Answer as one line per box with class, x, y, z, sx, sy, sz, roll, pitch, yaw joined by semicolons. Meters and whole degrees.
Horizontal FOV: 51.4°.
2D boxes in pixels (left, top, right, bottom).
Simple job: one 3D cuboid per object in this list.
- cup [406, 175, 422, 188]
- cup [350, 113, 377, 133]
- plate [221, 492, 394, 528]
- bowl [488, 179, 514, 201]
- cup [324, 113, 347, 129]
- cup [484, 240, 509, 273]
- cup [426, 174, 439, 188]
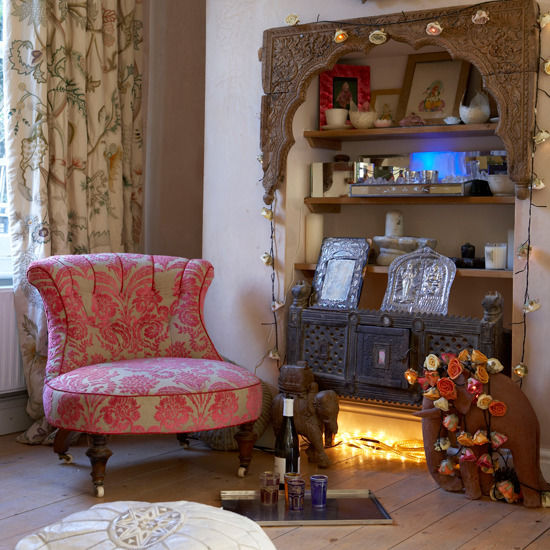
cup;0.629;-0.430;2.588;0.066;0.060;0.058;0;-1;-8
cup;0.428;-0.750;2.786;0.105;0.052;0.097;0;1;0
plate;0.089;0.765;1.868;0.536;0.046;0.253;1;-2;-7
bowl;0.975;-0.375;2.472;0.100;0.061;0.090;2;7;16
cup;0.298;-0.762;2.849;0.102;0.065;0.090;1;2;17
cup;0.946;-0.071;2.448;0.111;0.112;0.111;0;0;0
cup;0.698;-0.422;2.554;0.063;0.057;0.058;-1;1;0
